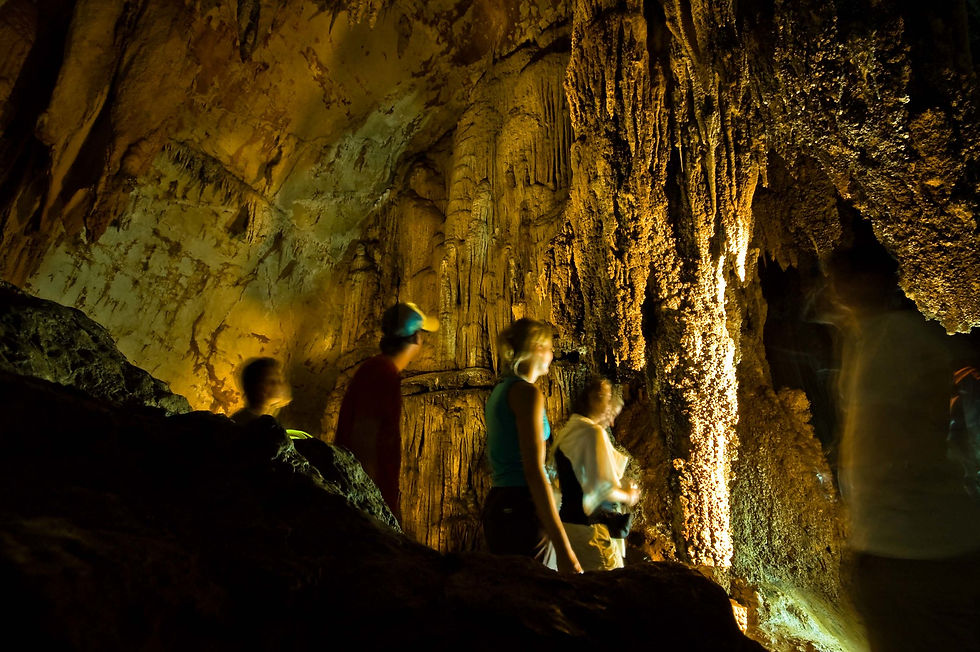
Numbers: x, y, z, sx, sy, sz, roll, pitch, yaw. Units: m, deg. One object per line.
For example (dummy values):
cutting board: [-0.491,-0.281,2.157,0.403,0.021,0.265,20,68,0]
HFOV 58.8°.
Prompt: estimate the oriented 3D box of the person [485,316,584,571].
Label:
person: [0.260,0.771,5.467,0.579,1.635,0.758,1,-27,2]

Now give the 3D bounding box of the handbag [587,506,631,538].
handbag: [0.851,1.376,6.197,0.255,0.236,0.199,6,-7,22]

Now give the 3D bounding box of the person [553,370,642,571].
person: [0.820,1.166,6.349,0.621,1.429,0.618,0,13,-3]

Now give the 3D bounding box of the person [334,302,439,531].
person: [-0.685,0.522,5.737,0.596,1.386,0.435,9,-27,-13]

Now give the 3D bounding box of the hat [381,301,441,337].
hat: [-0.549,-0.041,5.947,0.320,0.165,0.216,-10,12,-38]
